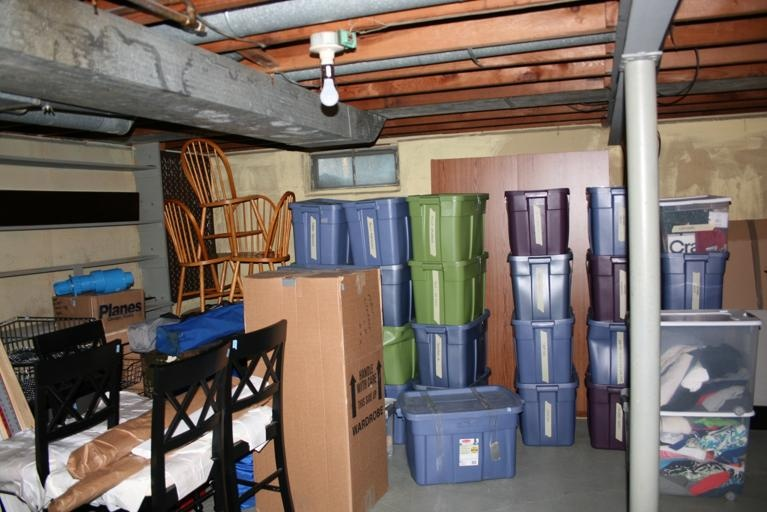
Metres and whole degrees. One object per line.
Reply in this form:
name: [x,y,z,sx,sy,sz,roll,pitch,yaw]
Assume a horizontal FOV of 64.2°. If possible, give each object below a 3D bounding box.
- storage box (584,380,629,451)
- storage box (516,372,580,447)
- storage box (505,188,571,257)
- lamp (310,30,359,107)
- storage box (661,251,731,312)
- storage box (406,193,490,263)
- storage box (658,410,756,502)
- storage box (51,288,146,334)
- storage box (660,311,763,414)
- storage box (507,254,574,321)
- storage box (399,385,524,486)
storage box: [1.758,1.239,5.016,0.468,0.576,0.661,0,-3,20]
storage box: [1.369,1.263,5.066,0.519,0.407,0.598,-1,-4,15]
storage box: [1.346,-0.265,5.024,0.600,0.526,0.463,-3,2,17]
lamp: [-0.281,-1.065,3.473,0.326,0.388,0.225,-9,13,-9]
storage box: [2.338,0.190,4.792,0.633,0.555,0.441,0,0,19]
storage box: [0.549,-0.232,5.047,0.510,0.399,0.651,0,2,28]
storage box: [2.260,1.331,4.360,0.686,0.591,0.665,-1,-2,25]
storage box: [-2.375,0.357,5.036,0.421,0.265,0.553,0,2,21]
storage box: [2.169,0.714,4.093,0.827,0.721,0.481,-1,1,20]
storage box: [1.262,0.243,4.888,0.486,0.527,0.141,-3,6,10]
storage box: [0.581,1.334,4.431,1.048,0.502,0.632,-2,-4,-3]
